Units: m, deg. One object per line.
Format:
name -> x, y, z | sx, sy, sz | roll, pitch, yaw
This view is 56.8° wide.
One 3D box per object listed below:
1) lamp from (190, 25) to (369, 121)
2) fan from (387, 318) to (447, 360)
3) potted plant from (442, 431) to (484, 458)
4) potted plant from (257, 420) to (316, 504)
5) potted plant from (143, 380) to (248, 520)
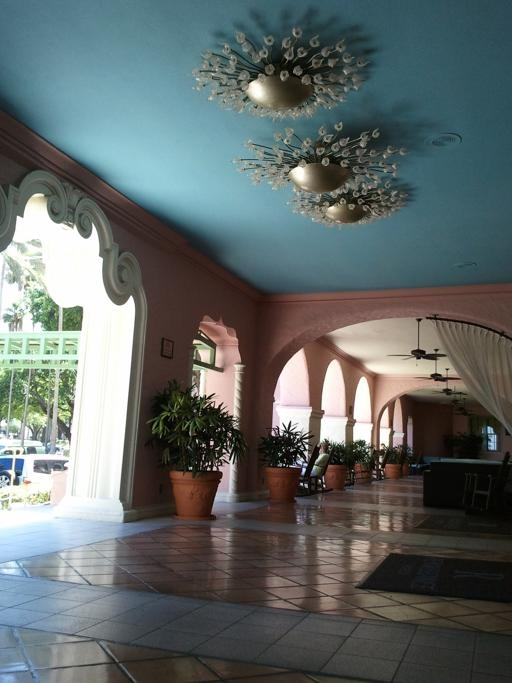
lamp -> 0.210, -1.647, 2.997 | 0.693, 0.240, 0.675 | 6, 6, -35
fan -> 3.602, -0.085, 10.741 | 1.337, 0.873, 1.031 | 0, 1, 26
potted plant -> 11.098, 5.587, 25.731 | 1.804, 1.709, 1.848 | -11, -16, 39
potted plant -> 0.447, 2.056, 8.173 | 0.889, 1.310, 0.958 | 2, -12, 6
potted plant -> -0.741, 1.263, 5.556 | 1.098, 1.602, 0.772 | 6, -13, -12
